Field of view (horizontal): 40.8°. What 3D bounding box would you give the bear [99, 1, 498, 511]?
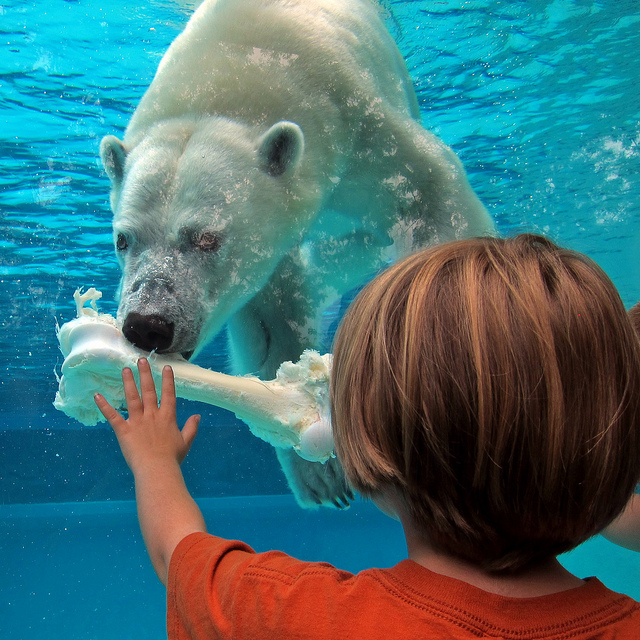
[{"bbox_3d":[-0.115,-0.721,4.501,1.373,4.058,1.830,4,13,10],"label":"bear"}]
